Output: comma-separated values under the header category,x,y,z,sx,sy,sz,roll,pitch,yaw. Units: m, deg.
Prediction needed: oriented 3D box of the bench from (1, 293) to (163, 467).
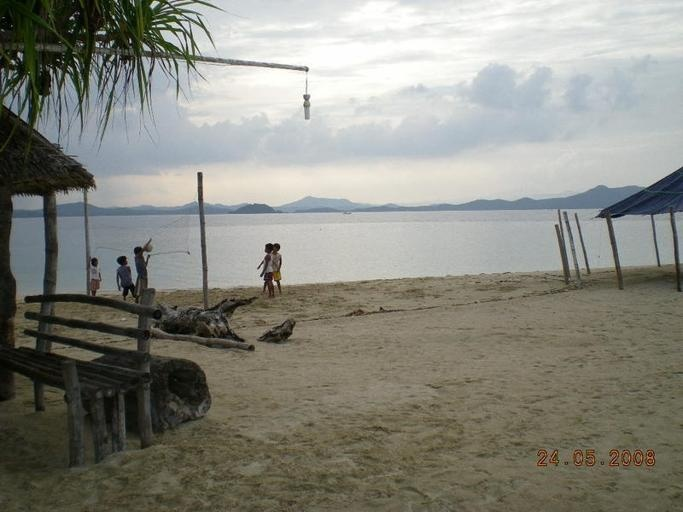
category,x,y,z,sx,sy,sz,roll,pitch,yaw
bench,-3.215,1.477,7.572,2.267,1.913,1.055,1,6,37
